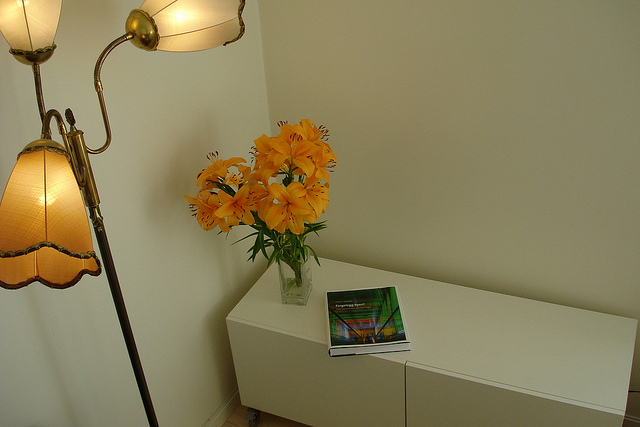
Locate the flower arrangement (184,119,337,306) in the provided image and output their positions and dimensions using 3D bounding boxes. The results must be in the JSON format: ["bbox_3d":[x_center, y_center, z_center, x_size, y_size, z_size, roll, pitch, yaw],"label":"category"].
[{"bbox_3d":[-0.197,0.049,1.858,0.465,0.742,0.457,-6,22,-8],"label":"flower arrangement"}]

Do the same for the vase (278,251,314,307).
[{"bbox_3d":[-0.103,0.277,2.002,0.112,0.120,0.227,4,-50,8],"label":"vase"}]
